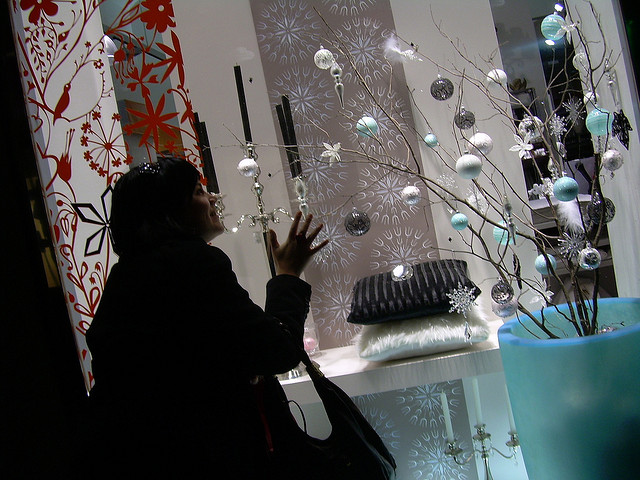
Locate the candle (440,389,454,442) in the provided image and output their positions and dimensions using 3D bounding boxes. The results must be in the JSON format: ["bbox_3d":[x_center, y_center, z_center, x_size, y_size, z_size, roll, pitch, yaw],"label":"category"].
[{"bbox_3d":[0.537,0.741,1.906,0.031,0.197,0.217,-13,-5,11],"label":"candle"}]

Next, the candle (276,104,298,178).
[{"bbox_3d":[-0.133,-0.413,1.828,0.037,0.409,0.040,-11,4,5],"label":"candle"}]

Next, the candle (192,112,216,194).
[{"bbox_3d":[-0.486,-0.366,1.858,0.030,0.444,0.292,-10,-5,-14],"label":"candle"}]
